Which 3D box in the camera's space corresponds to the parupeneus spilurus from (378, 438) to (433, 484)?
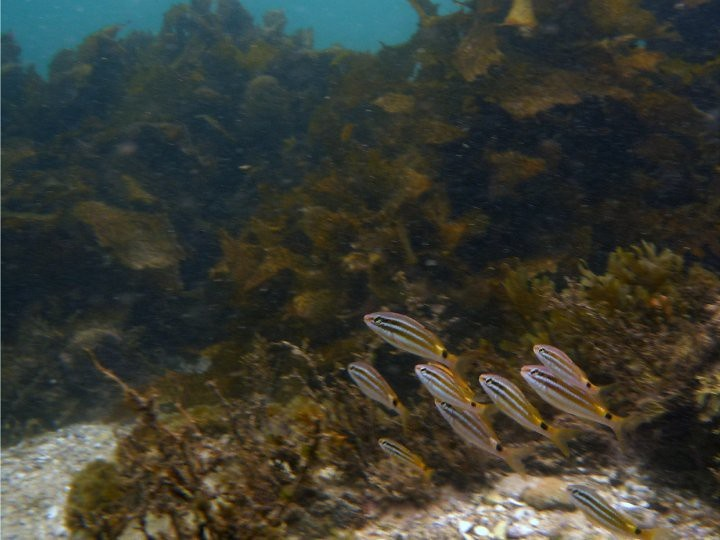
[{"bbox_3d":[0.366,1.443,5.216,0.511,0.167,0.107,26,28,38],"label":"parupeneus spilurus"}]
